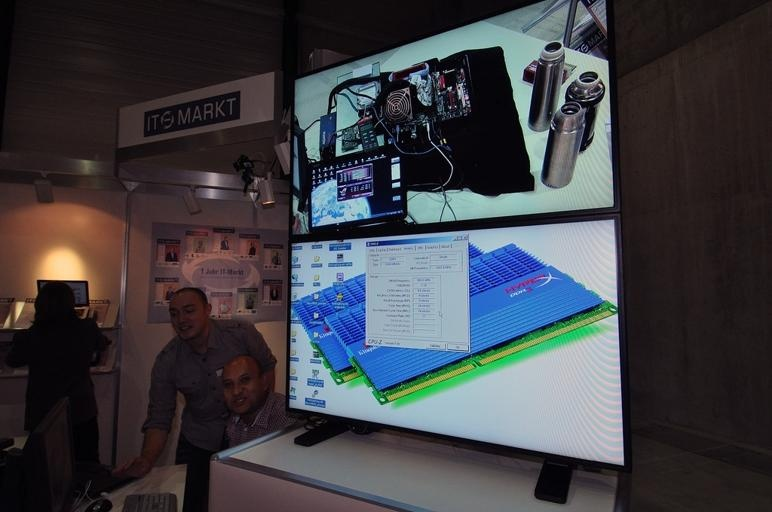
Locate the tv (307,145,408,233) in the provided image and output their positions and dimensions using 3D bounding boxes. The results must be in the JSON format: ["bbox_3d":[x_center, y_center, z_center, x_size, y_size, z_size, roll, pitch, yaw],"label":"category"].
[{"bbox_3d":[-0.117,-0.320,2.716,0.435,0.297,0.057,-6,-12,21],"label":"tv"}]

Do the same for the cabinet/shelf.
[{"bbox_3d":[-2.606,0.808,4.597,1.165,0.362,0.444,1,-2,-7],"label":"cabinet/shelf"}]

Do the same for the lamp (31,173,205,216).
[{"bbox_3d":[-2.362,-0.584,4.987,1.401,0.291,0.889,1,1,-11],"label":"lamp"}]
